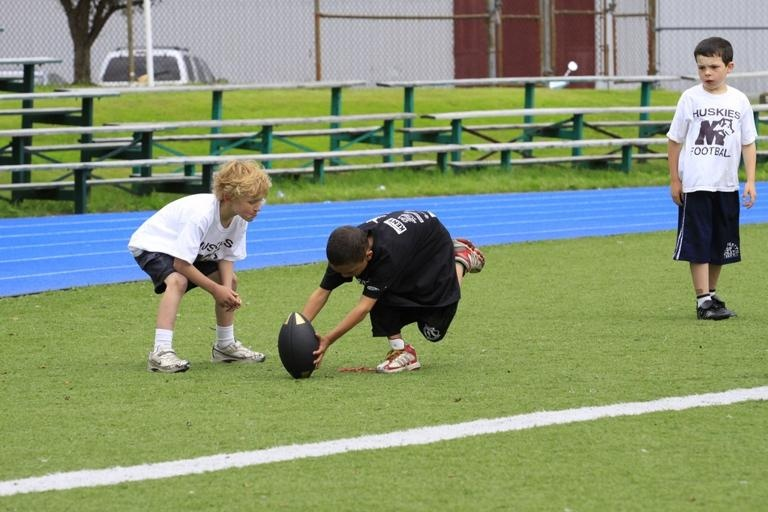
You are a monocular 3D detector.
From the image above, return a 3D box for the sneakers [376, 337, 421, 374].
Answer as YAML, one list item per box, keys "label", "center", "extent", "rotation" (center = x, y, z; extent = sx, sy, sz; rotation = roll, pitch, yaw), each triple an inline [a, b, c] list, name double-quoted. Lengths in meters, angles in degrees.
- label: "sneakers"
  center: [0.094, 0.705, 7.892]
  extent: [0.154, 0.190, 0.432]
  rotation: [3, 5, 35]

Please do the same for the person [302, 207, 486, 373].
- label: "person"
  center: [0.178, 0.227, 8.128]
  extent: [0.816, 1.033, 2.041]
  rotation: [7, 12, 41]

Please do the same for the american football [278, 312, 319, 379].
- label: "american football"
  center: [-0.573, 0.608, 7.748]
  extent: [0.269, 0.415, 0.228]
  rotation: [1, 12, 2]

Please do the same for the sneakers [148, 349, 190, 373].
- label: "sneakers"
  center: [-1.472, 0.730, 7.766]
  extent: [0.315, 0.128, 0.119]
  rotation: [0, 3, 13]

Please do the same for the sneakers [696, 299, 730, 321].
- label: "sneakers"
  center: [2.527, 0.420, 8.793]
  extent: [0.213, 0.094, 0.155]
  rotation: [-1, 4, 44]

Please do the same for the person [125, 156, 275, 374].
- label: "person"
  center: [-1.270, 0.053, 7.891]
  extent: [0.955, 1.423, 0.512]
  rotation: [-1, 13, -9]

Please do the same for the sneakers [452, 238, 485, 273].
- label: "sneakers"
  center: [0.603, 0.000, 8.227]
  extent: [0.359, 0.169, 0.126]
  rotation: [36, 5, -47]

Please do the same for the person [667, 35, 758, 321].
- label: "person"
  center: [2.537, -0.621, 8.903]
  extent: [0.674, 2.137, 0.793]
  rotation: [4, 13, 17]
